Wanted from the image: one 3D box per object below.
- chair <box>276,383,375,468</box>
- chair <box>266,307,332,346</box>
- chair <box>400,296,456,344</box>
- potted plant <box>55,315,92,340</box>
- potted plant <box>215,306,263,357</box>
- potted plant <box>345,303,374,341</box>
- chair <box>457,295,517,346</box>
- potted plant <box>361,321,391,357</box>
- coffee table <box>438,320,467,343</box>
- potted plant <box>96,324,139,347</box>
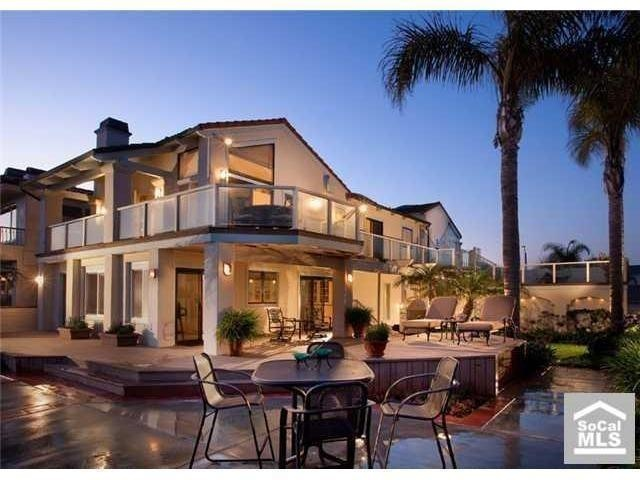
[{"bbox_3d":[0.091,3.147,9.682,1.550,1.535,2.810,0,-7,-1],"label":"chair"},{"bbox_3d":[-0.939,2.951,18.965,2.068,1.224,1.205,-3,-5,24],"label":"chair"},{"bbox_3d":[3.452,2.424,17.155,0.928,1.348,1.680,-3,-6,45],"label":"chair"},{"bbox_3d":[-8.787,3.185,19.776,0.728,0.704,1.086,5,-8,-38],"label":"potted plant"},{"bbox_3d":[-2.366,2.538,15.268,1.093,1.233,1.187,-5,-10,12],"label":"potted plant"},{"bbox_3d":[1.425,2.870,19.190,0.915,1.071,1.033,-3,-6,16],"label":"potted plant"},{"bbox_3d":[4.933,2.351,16.216,1.094,1.391,1.782,-2,-5,43],"label":"chair"},{"bbox_3d":[1.377,2.511,13.910,0.798,0.897,0.826,-5,-6,34],"label":"potted plant"},{"bbox_3d":[4.042,2.780,16.975,0.927,0.729,0.826,0,-11,-2],"label":"coffee table"},{"bbox_3d":[-6.420,3.074,17.650,1.209,0.665,0.772,0,-6,0],"label":"potted plant"}]
